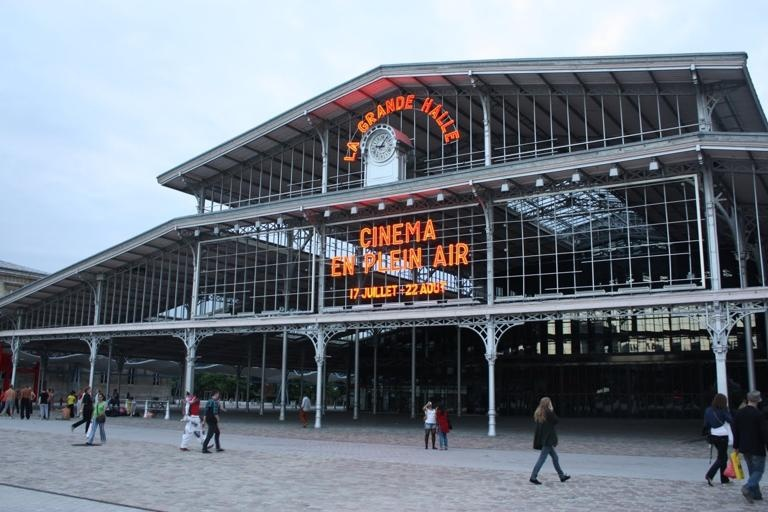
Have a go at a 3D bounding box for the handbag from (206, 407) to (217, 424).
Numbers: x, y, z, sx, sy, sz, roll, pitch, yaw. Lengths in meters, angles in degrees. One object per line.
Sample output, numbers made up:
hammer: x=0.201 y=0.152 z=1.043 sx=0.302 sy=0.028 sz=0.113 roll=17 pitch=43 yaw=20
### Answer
handbag: x=-7.568 y=6.972 z=30.919 sx=0.497 sy=0.835 sz=0.423 roll=1 pitch=-13 yaw=-8

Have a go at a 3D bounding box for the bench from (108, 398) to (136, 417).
bench: x=-19.713 y=11.418 z=52.841 sx=1.576 sy=0.780 sz=2.376 roll=-2 pitch=-18 yaw=9

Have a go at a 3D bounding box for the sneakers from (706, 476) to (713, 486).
sneakers: x=11.433 y=7.945 z=24.831 sx=0.186 sy=0.373 sz=0.139 roll=-14 pitch=-5 yaw=-35
